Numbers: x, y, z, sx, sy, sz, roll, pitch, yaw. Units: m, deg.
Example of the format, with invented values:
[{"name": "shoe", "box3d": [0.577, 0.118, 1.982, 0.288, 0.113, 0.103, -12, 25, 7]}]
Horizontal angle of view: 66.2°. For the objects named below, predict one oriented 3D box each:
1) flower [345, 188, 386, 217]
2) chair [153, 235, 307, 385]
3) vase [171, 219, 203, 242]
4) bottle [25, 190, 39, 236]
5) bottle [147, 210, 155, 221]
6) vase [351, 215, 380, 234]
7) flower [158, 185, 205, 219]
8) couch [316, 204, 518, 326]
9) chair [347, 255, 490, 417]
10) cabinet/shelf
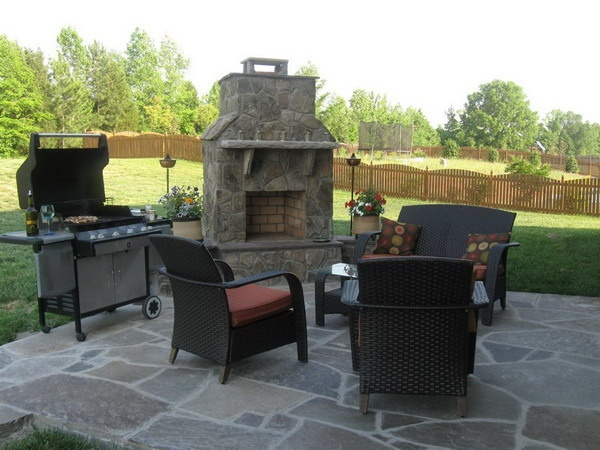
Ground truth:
[{"name": "flower", "box3d": [1.043, -0.347, 7.304, 0.523, 0.364, 0.503, 5, 8, 29]}, {"name": "chair", "box3d": [-0.702, 0.703, 4.374, 1.168, 1.171, 1.341, 3, 3, 28]}, {"name": "vase", "box3d": [-1.622, 0.046, 6.745, 0.483, 0.353, 0.483, 0, 1, 20]}, {"name": "bottle", "box3d": [-2.726, -0.128, 4.683, 0.111, 0.415, 0.410, -6, 12, -29]}, {"name": "bottle", "box3d": [-1.999, -0.131, 6.180, 0.128, 0.137, 0.129, 3, 5, 27]}, {"name": "vase", "box3d": [1.025, -0.016, 7.145, 0.326, 0.219, 0.321, 1, 0, -1]}, {"name": "flower", "box3d": [-1.774, -0.330, 6.922, 0.589, 0.399, 0.584, 2, 10, 5]}, {"name": "couch", "box3d": [1.481, 0.439, 5.971, 1.875, 1.303, 2.393, -18, 11, -41]}, {"name": "chair", "box3d": [0.982, 0.673, 3.851, 1.134, 1.293, 1.306, -1, 15, 23]}, {"name": "cabinet/shelf", "box3d": [-2.257, 0.555, 5.251, 0.434, 0.817, 1.119, 1, 5, 22]}]
